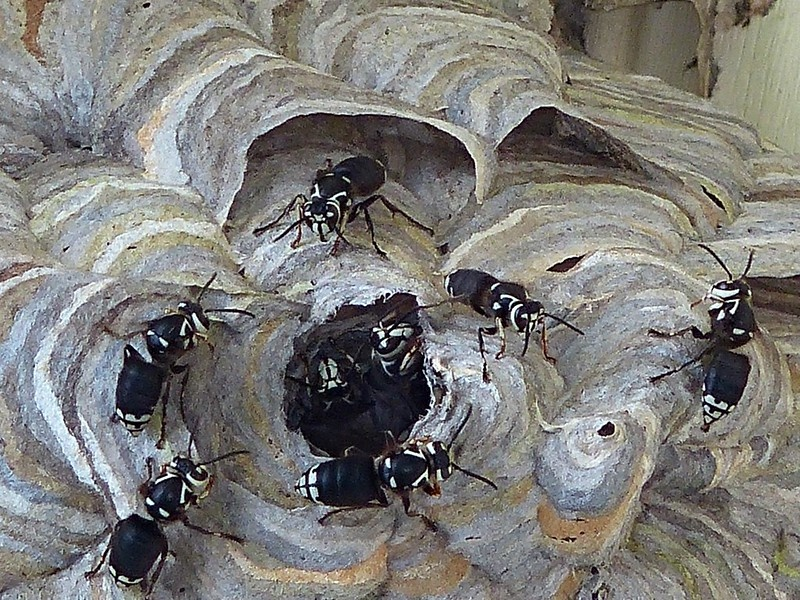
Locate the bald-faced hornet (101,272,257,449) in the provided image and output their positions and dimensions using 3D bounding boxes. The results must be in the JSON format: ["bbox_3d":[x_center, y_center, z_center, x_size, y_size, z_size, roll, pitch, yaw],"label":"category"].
[{"bbox_3d":[-0.906,0.214,5.441,0.477,0.623,0.184,46,-17,-30],"label":"bald-faced hornet"}]

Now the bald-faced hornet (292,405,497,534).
[{"bbox_3d":[-0.025,0.633,5.554,0.741,0.457,0.270,5,-1,-4],"label":"bald-faced hornet"}]
